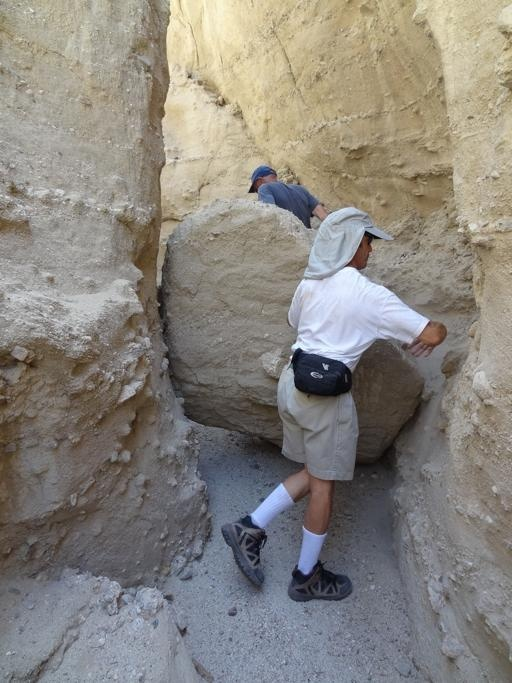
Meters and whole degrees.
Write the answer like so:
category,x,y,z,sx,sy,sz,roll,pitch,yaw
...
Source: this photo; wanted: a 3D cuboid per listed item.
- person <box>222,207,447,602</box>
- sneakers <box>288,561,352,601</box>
category,x,y,z,sx,sy,sz,roll,pitch,yaw
person,0.248,0.201,1.522,0.521,1.154,0.608,11,24,6
sneakers,0.212,0.759,1.579,0.234,0.144,0.092,-3,4,-10
